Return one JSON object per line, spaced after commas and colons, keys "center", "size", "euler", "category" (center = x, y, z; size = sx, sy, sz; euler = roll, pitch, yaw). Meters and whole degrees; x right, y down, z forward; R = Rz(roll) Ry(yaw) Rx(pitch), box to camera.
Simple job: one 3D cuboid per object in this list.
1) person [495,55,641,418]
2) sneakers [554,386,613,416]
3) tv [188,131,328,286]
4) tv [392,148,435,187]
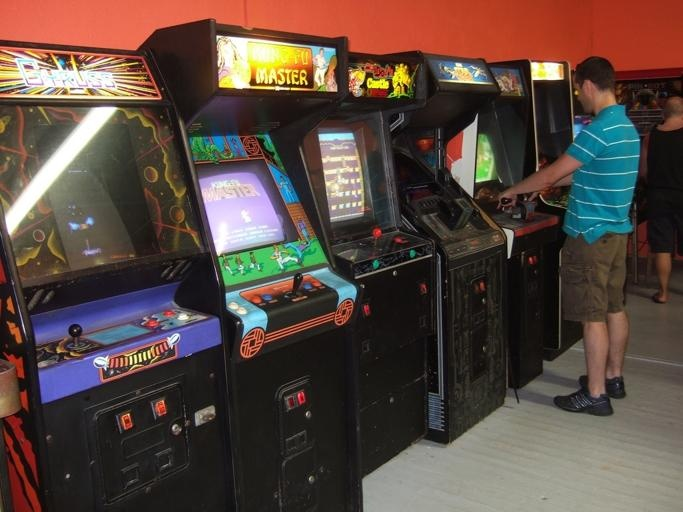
{"center": [1.581, -0.131, 3.330], "size": [0.598, 2.165, 0.592], "euler": [-6, 13, -13], "category": "person"}
{"center": [1.520, 0.922, 3.391], "size": [0.373, 0.159, 0.140], "euler": [5, 8, 27], "category": "sneakers"}
{"center": [-0.346, -0.187, 2.190], "size": [0.495, 0.638, 0.147], "euler": [-10, -14, -38], "category": "tv"}
{"center": [0.417, -0.520, 3.121], "size": [0.259, 0.223, 0.123], "euler": [-8, 14, -23], "category": "tv"}
